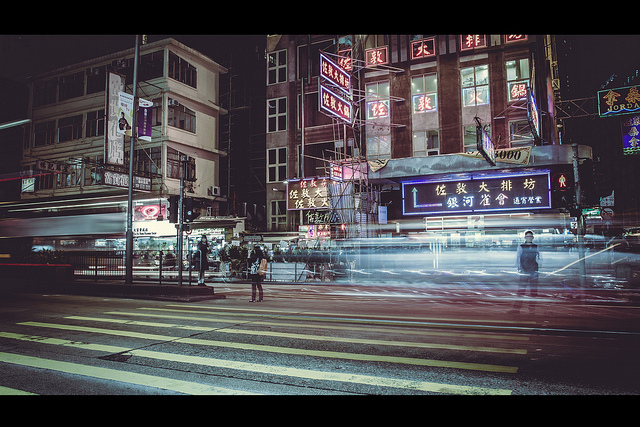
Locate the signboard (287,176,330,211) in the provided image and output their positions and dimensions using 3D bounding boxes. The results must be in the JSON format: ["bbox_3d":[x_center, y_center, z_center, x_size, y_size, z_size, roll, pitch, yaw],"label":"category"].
[{"bbox_3d":[-0.873,-1.770,39.973,4.949,2.660,2.469,0,0,32],"label":"signboard"}]

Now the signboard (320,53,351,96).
[{"bbox_3d":[0.772,-8.076,30.710,0.386,1.599,2.459,6,10,34],"label":"signboard"}]

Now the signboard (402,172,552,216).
[{"bbox_3d":[9.074,-1.144,32.229,8.717,2.293,0.413,-3,-10,25],"label":"signboard"}]

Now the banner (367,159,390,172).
[{"bbox_3d":[3.571,-2.951,33.267,0.950,0.641,0.127,2,-28,22],"label":"banner"}]

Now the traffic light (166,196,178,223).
[{"bbox_3d":[-6.199,-0.191,23.118,0.397,1.179,0.453,-3,9,-15],"label":"traffic light"}]

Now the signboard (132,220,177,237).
[{"bbox_3d":[-13.858,1.195,45.634,3.988,1.587,0.683,3,10,21],"label":"signboard"}]

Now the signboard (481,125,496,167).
[{"bbox_3d":[9.370,-3.722,30.383,0.208,0.840,3.029,-17,-20,27],"label":"signboard"}]
